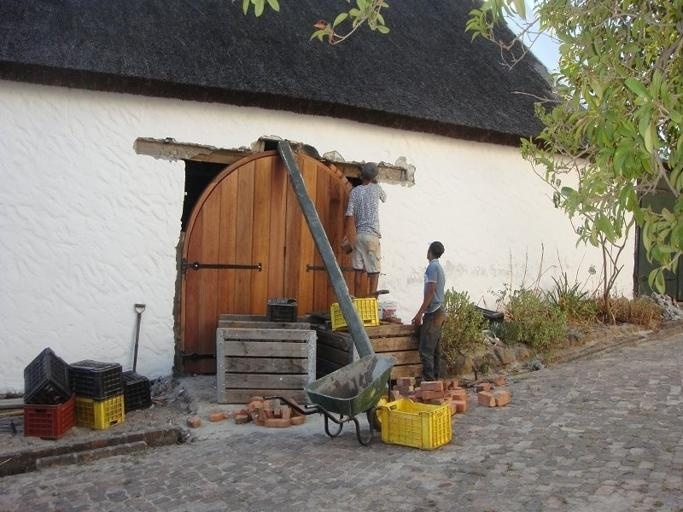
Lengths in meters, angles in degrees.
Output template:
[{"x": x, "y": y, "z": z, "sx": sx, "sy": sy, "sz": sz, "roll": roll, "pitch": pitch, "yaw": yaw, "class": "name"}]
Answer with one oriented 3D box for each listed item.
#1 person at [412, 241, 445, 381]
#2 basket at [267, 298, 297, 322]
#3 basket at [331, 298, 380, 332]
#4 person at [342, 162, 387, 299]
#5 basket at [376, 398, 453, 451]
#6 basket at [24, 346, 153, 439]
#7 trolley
[{"x": 1.146, "y": 0.749, "z": 8.546, "sx": 0.389, "sy": 1.849, "sz": 0.530, "roll": 7, "pitch": 13, "yaw": 39, "class": "person"}, {"x": -0.757, "y": 0.681, "z": 8.330, "sx": 0.371, "sy": 0.227, "sz": 0.343, "roll": -2, "pitch": 11, "yaw": -7, "class": "basket"}, {"x": 0.188, "y": 0.741, "z": 8.446, "sx": 0.653, "sy": 0.420, "sz": 0.811, "roll": -2, "pitch": 11, "yaw": -7, "class": "basket"}, {"x": 0.313, "y": -0.361, "z": 9.350, "sx": 0.574, "sy": 1.877, "sz": 0.451, "roll": 0, "pitch": 10, "yaw": 4, "class": "person"}, {"x": 0.804, "y": 1.607, "z": 6.821, "sx": 0.588, "sy": 0.367, "sz": 0.443, "roll": -2, "pitch": -3, "yaw": 39, "class": "basket"}, {"x": -2.835, "y": 1.471, "z": 7.093, "sx": 1.137, "sy": 0.578, "sz": 0.686, "roll": -2, "pitch": 1, "yaw": 34, "class": "basket"}, {"x": 0.043, "y": 1.580, "z": 6.737, "sx": 0.643, "sy": 0.802, "sz": 1.493, "roll": -5, "pitch": 4, "yaw": 41, "class": "trolley"}]
